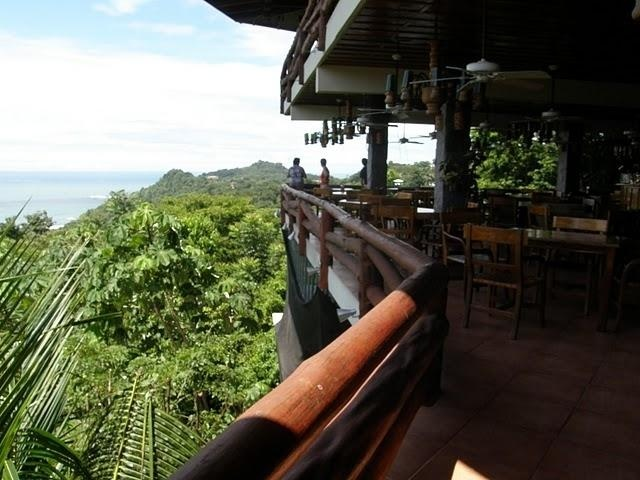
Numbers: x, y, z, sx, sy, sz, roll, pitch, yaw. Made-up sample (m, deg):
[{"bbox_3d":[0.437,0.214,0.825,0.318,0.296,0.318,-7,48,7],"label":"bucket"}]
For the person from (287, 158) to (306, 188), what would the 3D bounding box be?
[{"bbox_3d":[-0.689,-1.904,12.959,0.479,0.882,1.012,2,13,-4],"label":"person"}]
